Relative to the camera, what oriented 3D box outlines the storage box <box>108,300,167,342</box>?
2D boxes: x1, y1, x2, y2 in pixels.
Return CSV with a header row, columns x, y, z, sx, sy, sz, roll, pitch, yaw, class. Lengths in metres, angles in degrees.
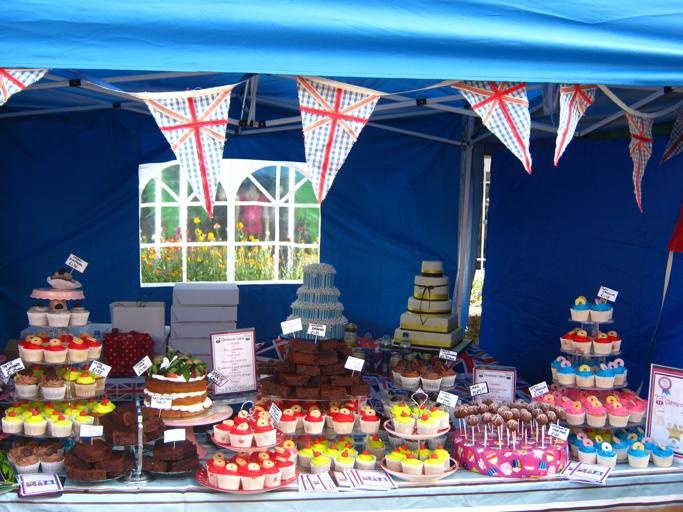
x,y,z,sx,sy,sz,roll,pitch,yaw,class
-1.755,0.514,5.863,0.581,0.378,0.297,2,7,-9,storage box
